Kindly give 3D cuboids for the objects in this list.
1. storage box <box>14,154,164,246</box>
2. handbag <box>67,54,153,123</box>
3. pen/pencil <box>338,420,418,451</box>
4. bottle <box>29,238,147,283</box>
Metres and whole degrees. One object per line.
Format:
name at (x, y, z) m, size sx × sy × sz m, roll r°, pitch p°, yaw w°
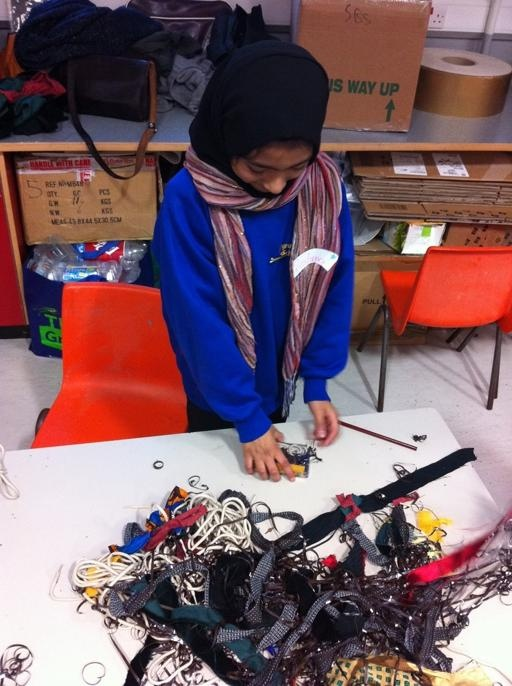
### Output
storage box at (-0.714, -0.595, 2.295) m, size 0.449 × 0.252 × 0.413 m, roll -5°, pitch 42°, yaw -4°
handbag at (-0.574, -1.010, 2.150) m, size 0.370 × 0.238 × 0.153 m, roll 3°, pitch 47°, yaw -1°
pen/pencil at (0.251, 0.195, 1.132) m, size 0.129 × 0.012 × 0.013 m, roll 21°, pitch 68°, yaw 28°
bottle at (-0.740, -0.316, 2.465) m, size 0.449 × 0.148 × 0.291 m, roll -1°, pitch 53°, yaw -4°
